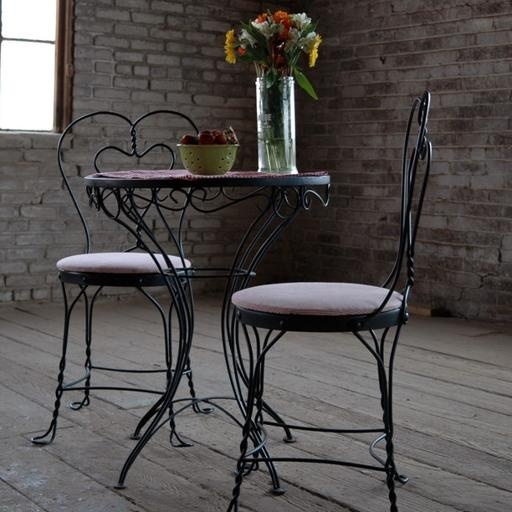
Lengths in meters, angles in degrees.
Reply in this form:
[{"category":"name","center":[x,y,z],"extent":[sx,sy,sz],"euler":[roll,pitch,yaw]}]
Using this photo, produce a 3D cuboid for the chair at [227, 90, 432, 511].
[{"category":"chair","center":[0.214,0.080,1.801],"extent":[0.549,1.206,0.955],"euler":[6,10,8]}]
